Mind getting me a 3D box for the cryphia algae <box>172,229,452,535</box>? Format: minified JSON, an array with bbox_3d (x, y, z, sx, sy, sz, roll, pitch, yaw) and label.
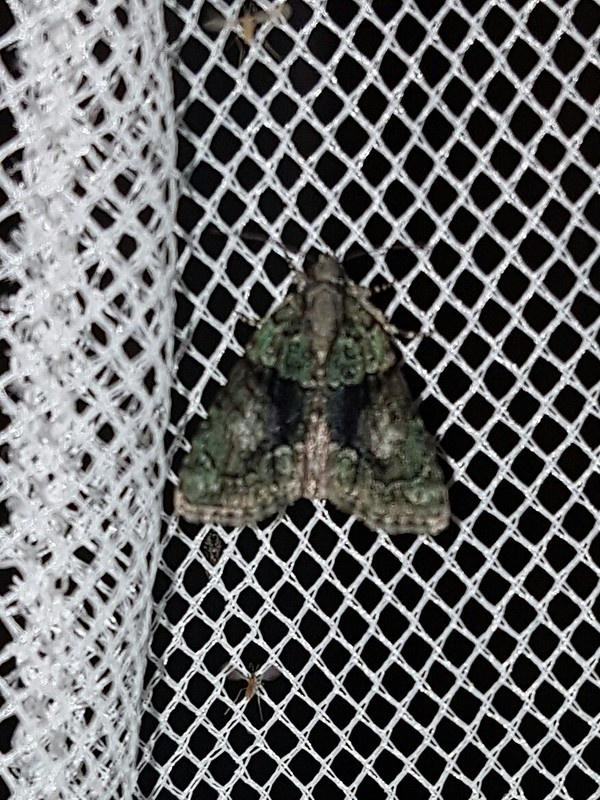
[{"bbox_3d":[0.022,-0.050,1.567,0.239,0.075,0.315,2,100,0],"label":"cryphia algae"}]
